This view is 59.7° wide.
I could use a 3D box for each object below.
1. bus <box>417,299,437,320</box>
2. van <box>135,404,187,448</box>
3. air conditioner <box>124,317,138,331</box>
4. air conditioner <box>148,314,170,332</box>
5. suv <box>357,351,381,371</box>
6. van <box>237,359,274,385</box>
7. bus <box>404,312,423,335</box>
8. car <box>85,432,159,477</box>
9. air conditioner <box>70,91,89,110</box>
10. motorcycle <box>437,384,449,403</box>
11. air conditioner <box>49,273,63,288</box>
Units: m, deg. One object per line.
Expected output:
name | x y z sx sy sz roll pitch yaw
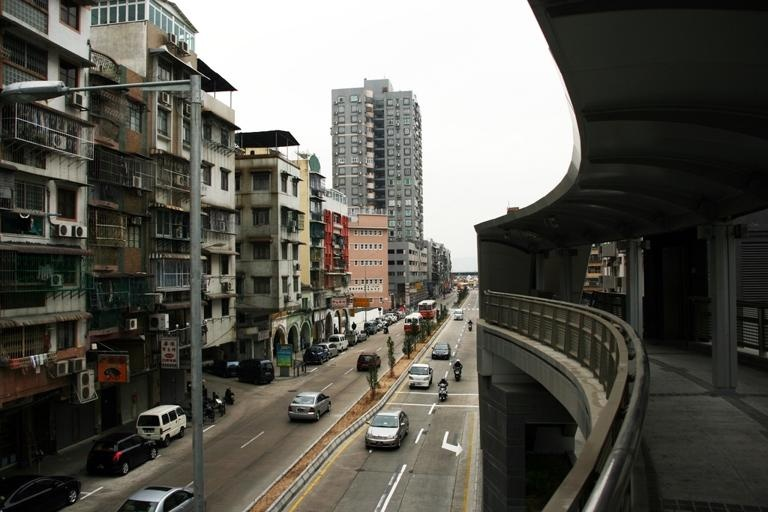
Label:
bus | 5.877 7.206 90.147 2.124 2.095 6.852 -2 -4 8
van | -10.640 8.008 31.946 1.302 1.367 2.458 -1 0 10
air conditioner | -12.475 3.323 33.040 0.444 0.782 0.914 -1 -3 8
air conditioner | -11.578 3.408 34.772 1.145 1.169 0.787 0 0 6
suv | -1.157 7.838 48.810 1.209 1.111 2.093 0 6 11
van | -8.799 7.812 45.720 2.012 1.259 1.483 2 -1 35
bus | 2.818 6.707 66.096 1.493 1.723 3.048 0 6 9
car | -11.190 8.358 28.824 1.300 1.076 2.455 3 6 15
air conditioner | -13.623 -6.890 29.784 0.555 0.766 1.057 -1 -3 1
motorcycle | 3.583 8.127 40.106 0.546 1.017 0.777 -2 -4 1
air conditioner | -13.915 1.057 28.268 0.407 0.783 0.801 -2 -4 13
